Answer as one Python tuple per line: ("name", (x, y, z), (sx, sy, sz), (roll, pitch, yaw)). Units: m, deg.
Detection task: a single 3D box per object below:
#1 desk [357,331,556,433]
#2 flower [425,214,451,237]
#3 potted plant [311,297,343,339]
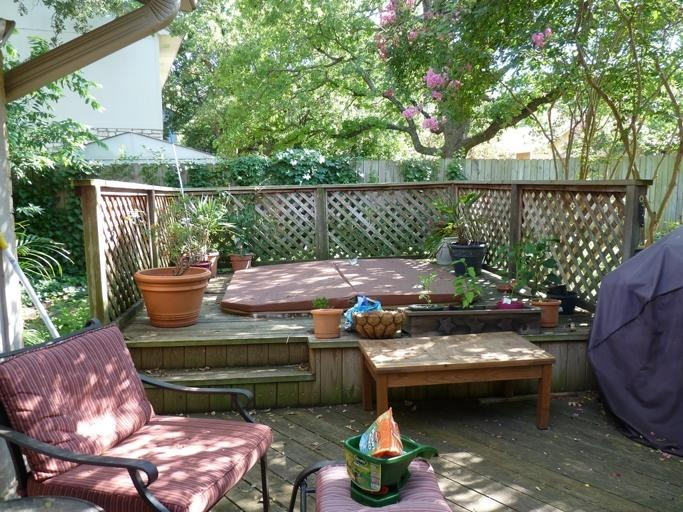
("desk", (0.757, 0.875, 3.601), (1.182, 0.462, 0.767), (-2, 4, -4))
("flower", (1.282, -0.405, 7.027), (0.349, 0.300, 0.239), (-9, -15, 42))
("potted plant", (-0.114, 0.464, 3.873), (0.212, 0.251, 0.261), (-2, 13, -4))
